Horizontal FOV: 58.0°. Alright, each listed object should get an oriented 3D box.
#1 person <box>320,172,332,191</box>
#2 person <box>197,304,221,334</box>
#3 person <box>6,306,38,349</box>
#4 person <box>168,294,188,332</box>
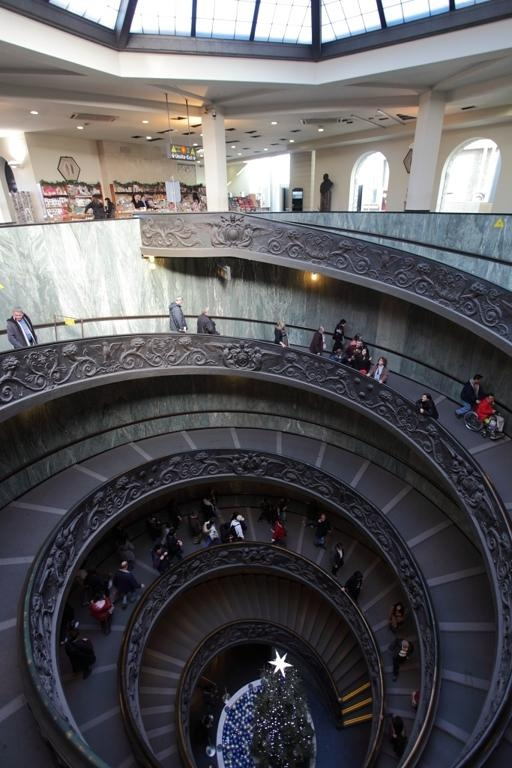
[{"bbox_3d":[3.480,-9.979,22.948,0.513,0.817,0.774,7,19,16],"label":"person"},{"bbox_3d":[-1.380,-1.803,12.705,0.476,0.775,1.537,-1,20,-8],"label":"person"},{"bbox_3d":[-4.865,-1.166,9.554,0.551,0.794,0.415,-16,25,-41],"label":"person"},{"bbox_3d":[-2.205,-1.983,12.926,0.420,1.205,0.847,-15,46,-18],"label":"person"}]
